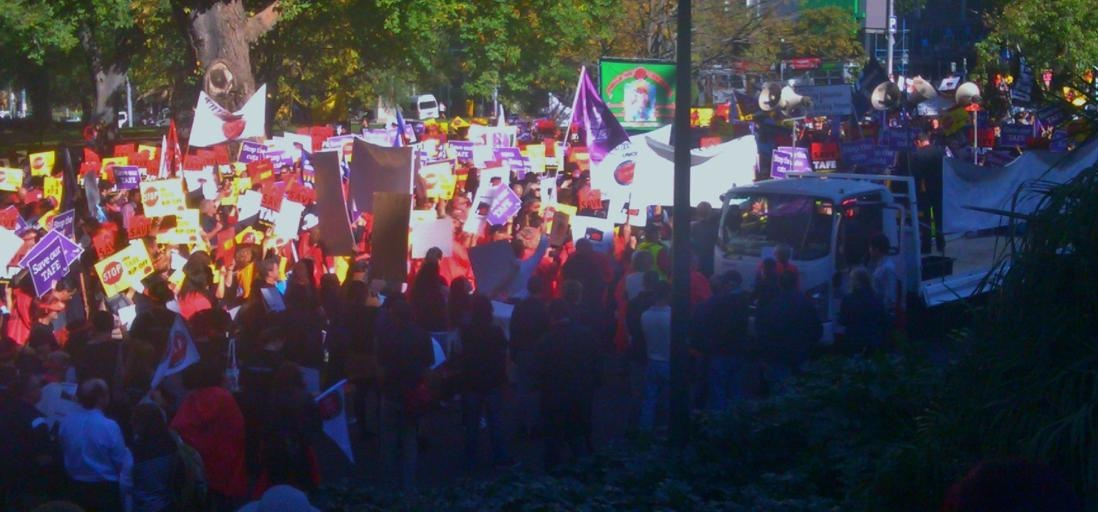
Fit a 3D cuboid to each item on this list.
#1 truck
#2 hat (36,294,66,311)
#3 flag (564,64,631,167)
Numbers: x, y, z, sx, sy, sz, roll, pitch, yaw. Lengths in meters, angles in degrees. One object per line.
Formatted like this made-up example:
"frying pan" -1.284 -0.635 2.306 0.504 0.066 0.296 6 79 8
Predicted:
"truck" 6.434 -0.249 21.937 7.329 2.886 3.274 -5 3 -38
"hat" -10.206 0.926 19.614 0.499 0.318 0.336 0 21 25
"flag" 0.986 -3.345 22.735 1.361 2.888 0.292 -8 -25 8
